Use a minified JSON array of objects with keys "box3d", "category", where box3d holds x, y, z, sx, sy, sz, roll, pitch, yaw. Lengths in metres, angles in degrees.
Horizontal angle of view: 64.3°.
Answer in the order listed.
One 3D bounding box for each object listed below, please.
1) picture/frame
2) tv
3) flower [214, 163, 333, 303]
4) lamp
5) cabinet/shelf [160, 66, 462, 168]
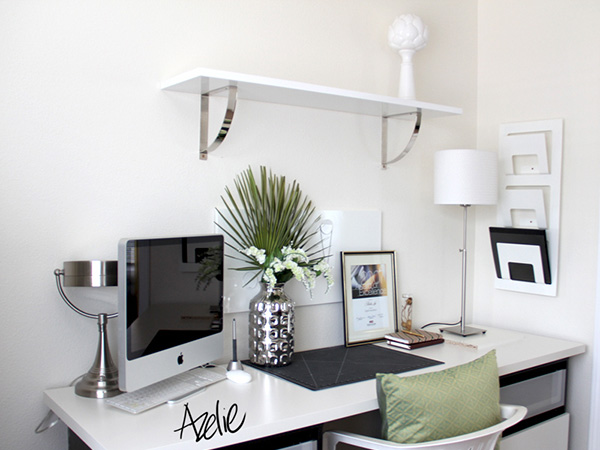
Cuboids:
[{"box3d":[0.318,0.363,2.286,0.387,0.524,0.034,4,-11,-38],"category":"picture/frame"},{"box3d":[-0.451,0.320,1.627,0.058,0.630,0.526,0,0,36],"category":"tv"},{"box3d":[-0.129,0.142,2.065,0.366,0.682,0.411,4,9,41],"category":"flower"},{"box3d":[0.854,0.086,2.525,0.316,0.960,0.432,6,8,23],"category":"lamp"},{"box3d":[0.073,-0.419,2.058,1.270,0.322,0.315,-2,9,-33],"category":"cabinet/shelf"}]
